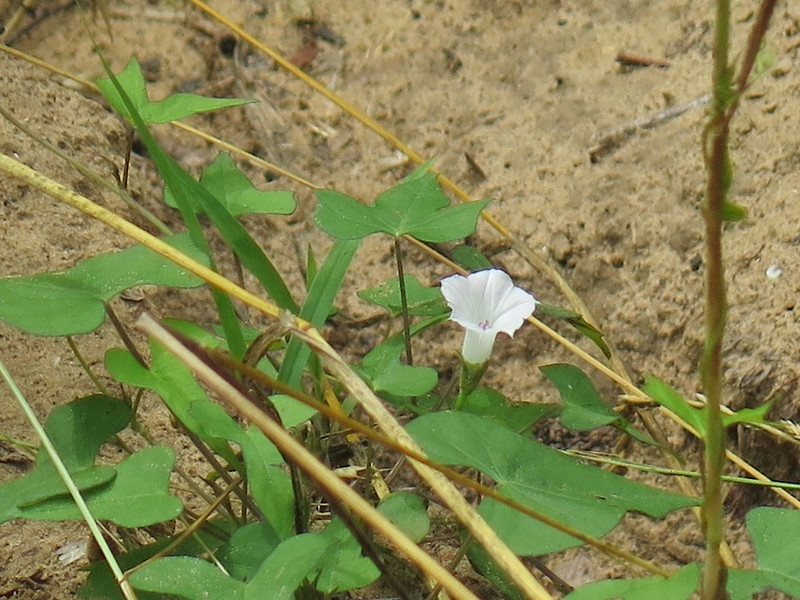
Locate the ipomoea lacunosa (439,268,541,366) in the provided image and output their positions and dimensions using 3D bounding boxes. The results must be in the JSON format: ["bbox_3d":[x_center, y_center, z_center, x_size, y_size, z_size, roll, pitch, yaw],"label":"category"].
[{"bbox_3d":[0.230,0.013,2.294,0.172,0.155,0.125,24,-72,-16],"label":"ipomoea lacunosa"}]
